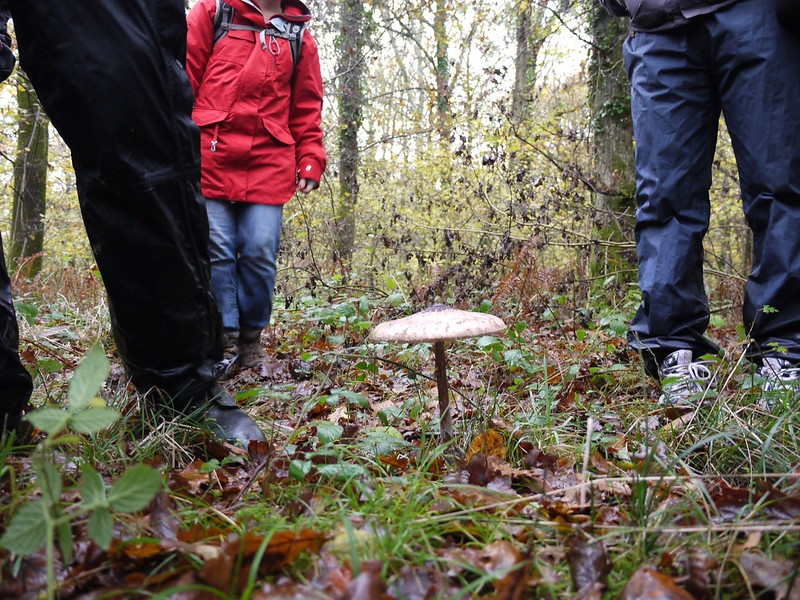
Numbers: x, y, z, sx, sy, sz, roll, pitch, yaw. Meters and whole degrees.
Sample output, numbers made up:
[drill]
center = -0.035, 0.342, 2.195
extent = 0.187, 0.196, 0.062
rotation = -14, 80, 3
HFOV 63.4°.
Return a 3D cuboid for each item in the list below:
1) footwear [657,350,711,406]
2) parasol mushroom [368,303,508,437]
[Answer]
[footwear]
center = 1.415, 0.392, 3.270
extent = 0.186, 0.239, 0.550
rotation = -11, -7, 40
[parasol mushroom]
center = 0.227, 0.322, 3.015
extent = 0.642, 0.628, 0.597
rotation = 3, 16, 32
